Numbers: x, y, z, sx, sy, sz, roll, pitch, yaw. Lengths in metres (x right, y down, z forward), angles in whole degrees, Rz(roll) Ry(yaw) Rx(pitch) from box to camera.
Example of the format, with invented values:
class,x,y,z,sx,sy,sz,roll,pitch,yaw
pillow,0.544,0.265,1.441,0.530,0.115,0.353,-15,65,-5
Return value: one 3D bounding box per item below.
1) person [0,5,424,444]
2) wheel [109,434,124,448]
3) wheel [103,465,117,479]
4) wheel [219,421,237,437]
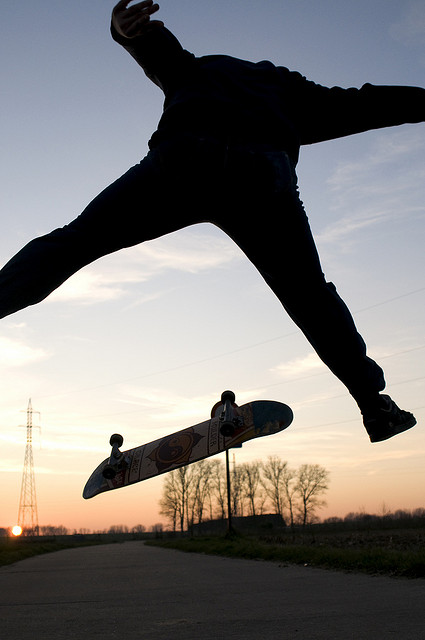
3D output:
class,x,y,z,sx,sy,sz,roll,pitch,yaw
person,0.122,-0.372,2.776,1.713,1.746,0.798,4,-17,-25
wheel,-0.650,0.817,4.426,0.074,0.074,0.140,0,-14,-12
wheel,-0.668,0.988,4.258,0.087,0.090,0.205,-1,-14,-8
wheel,0.077,0.591,3.588,0.093,0.077,0.092,-5,2,0
